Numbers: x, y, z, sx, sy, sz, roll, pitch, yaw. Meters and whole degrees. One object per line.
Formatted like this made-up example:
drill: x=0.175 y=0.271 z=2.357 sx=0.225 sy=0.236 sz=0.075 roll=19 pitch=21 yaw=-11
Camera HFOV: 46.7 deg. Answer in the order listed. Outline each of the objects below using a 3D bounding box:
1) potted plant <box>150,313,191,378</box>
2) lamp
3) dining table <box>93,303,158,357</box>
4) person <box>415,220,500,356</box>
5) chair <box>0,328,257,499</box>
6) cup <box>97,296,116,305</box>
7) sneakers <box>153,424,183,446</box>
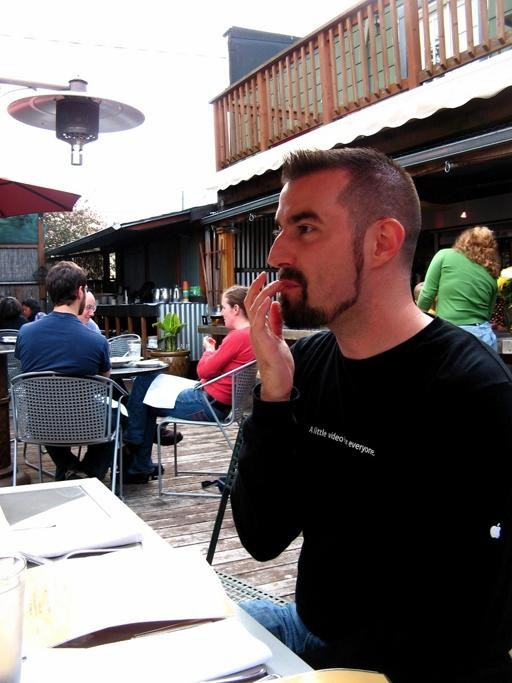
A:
potted plant: x=-1.421 y=0.115 z=9.598 sx=0.713 sy=1.057 sz=0.737 roll=3 pitch=0 yaw=12
lamp: x=-1.320 y=-1.514 z=4.157 sx=0.794 sy=0.303 sz=0.471 roll=5 pitch=4 yaw=37
dining table: x=-2.418 y=-0.285 z=11.414 sx=1.595 sy=0.871 sz=0.473 roll=1 pitch=11 yaw=21
person: x=1.520 y=-0.418 z=4.482 sx=0.562 sy=0.937 sz=0.577 roll=15 pitch=-5 yaw=-7
chair: x=-0.884 y=0.424 z=3.685 sx=0.657 sy=0.957 sz=0.724 roll=0 pitch=13 yaw=1
cup: x=-3.202 y=-0.893 z=12.721 sx=0.244 sy=0.159 sz=0.131 roll=5 pitch=9 yaw=38
sneakers: x=-0.764 y=0.828 z=5.237 sx=0.280 sy=0.104 sz=0.271 roll=3 pitch=4 yaw=3
